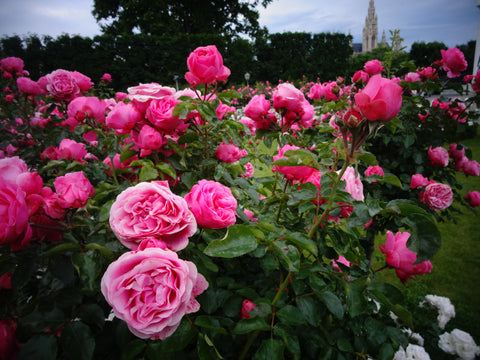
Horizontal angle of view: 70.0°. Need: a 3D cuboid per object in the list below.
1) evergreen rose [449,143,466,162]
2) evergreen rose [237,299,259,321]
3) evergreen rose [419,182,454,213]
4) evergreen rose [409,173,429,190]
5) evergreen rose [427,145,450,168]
[{"bbox_3d":[2.226,-0.283,3.511,0.137,0.203,0.205,9,23,32],"label":"evergreen rose"},{"bbox_3d":[0.042,0.696,1.842,0.073,0.089,0.085,-21,25,-39],"label":"evergreen rose"},{"bbox_3d":[1.755,0.171,3.072,0.171,0.301,0.235,-11,20,-18],"label":"evergreen rose"},{"bbox_3d":[1.693,0.013,3.252,0.111,0.125,0.142,39,-7,-40],"label":"evergreen rose"},{"bbox_3d":[1.913,-0.220,3.332,0.195,0.187,0.190,-5,19,27],"label":"evergreen rose"}]
